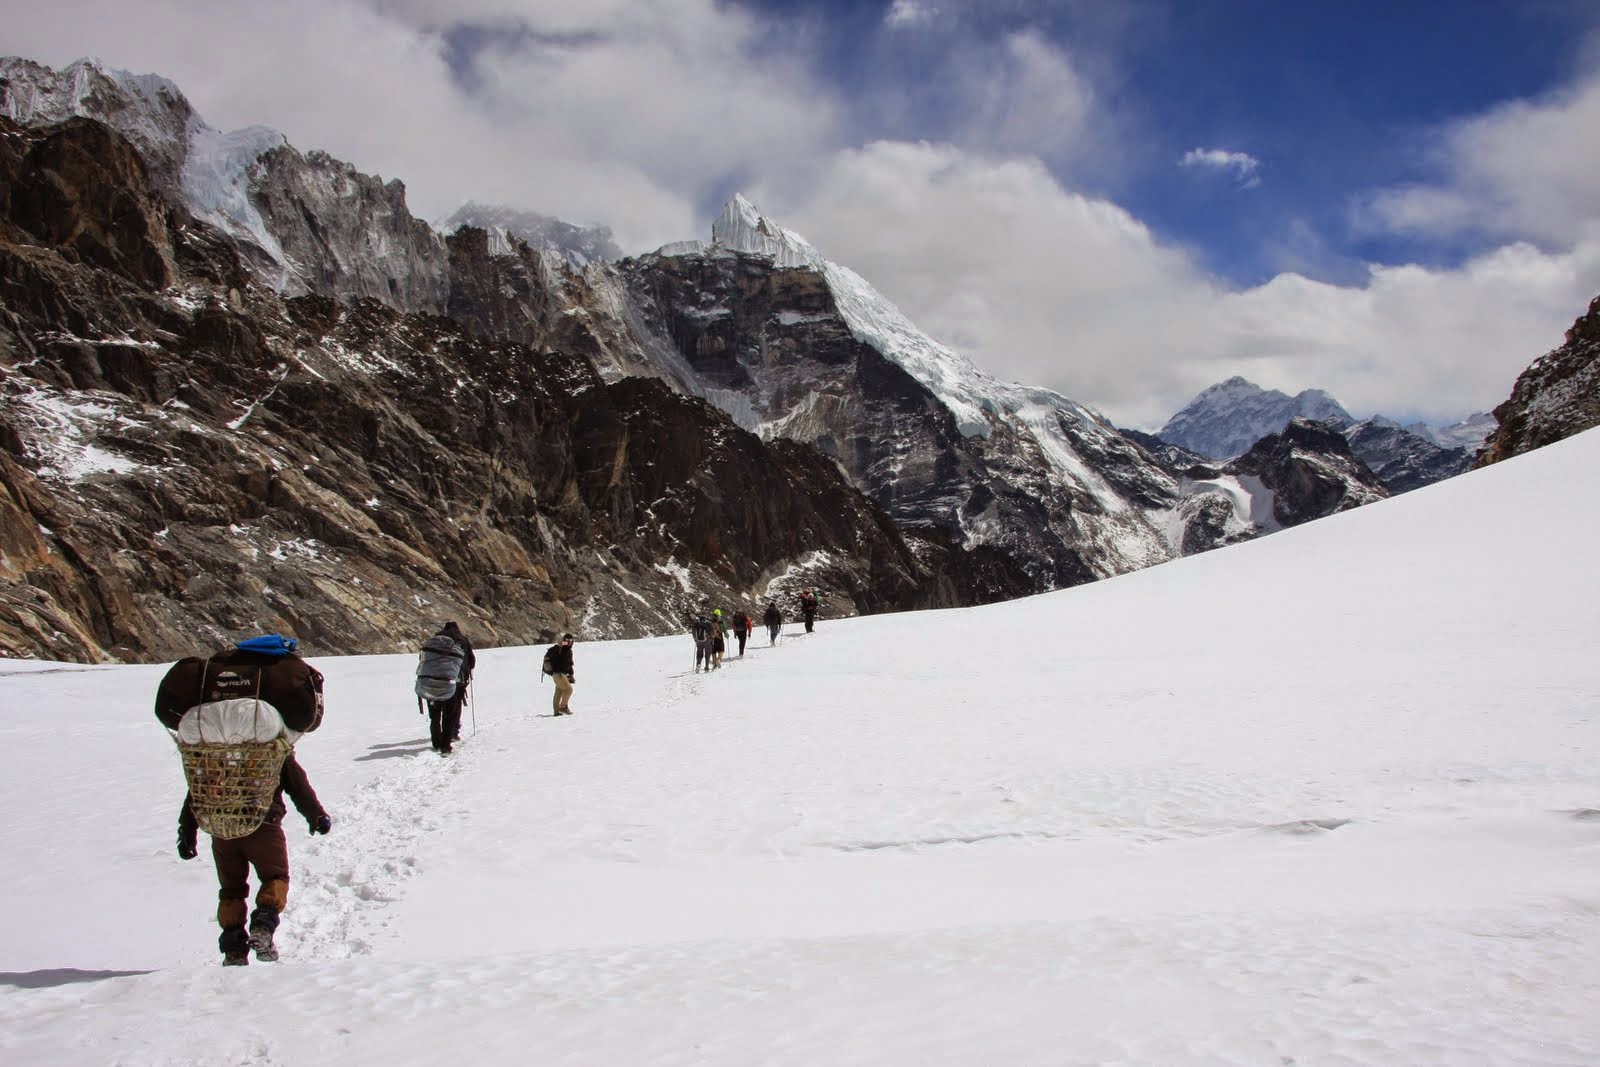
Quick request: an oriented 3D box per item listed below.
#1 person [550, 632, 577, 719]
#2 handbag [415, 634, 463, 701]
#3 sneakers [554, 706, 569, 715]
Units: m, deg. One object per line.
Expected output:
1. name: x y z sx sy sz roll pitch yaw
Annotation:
1. person: -6.196 3.593 35.639 0.592 2.140 1.000 0 -2 -7
2. handbag: -8.189 3.009 31.478 1.044 1.533 0.643 0 -2 -17
3. sneakers: -6.220 4.528 35.851 0.301 0.157 0.299 -11 -31 -8
